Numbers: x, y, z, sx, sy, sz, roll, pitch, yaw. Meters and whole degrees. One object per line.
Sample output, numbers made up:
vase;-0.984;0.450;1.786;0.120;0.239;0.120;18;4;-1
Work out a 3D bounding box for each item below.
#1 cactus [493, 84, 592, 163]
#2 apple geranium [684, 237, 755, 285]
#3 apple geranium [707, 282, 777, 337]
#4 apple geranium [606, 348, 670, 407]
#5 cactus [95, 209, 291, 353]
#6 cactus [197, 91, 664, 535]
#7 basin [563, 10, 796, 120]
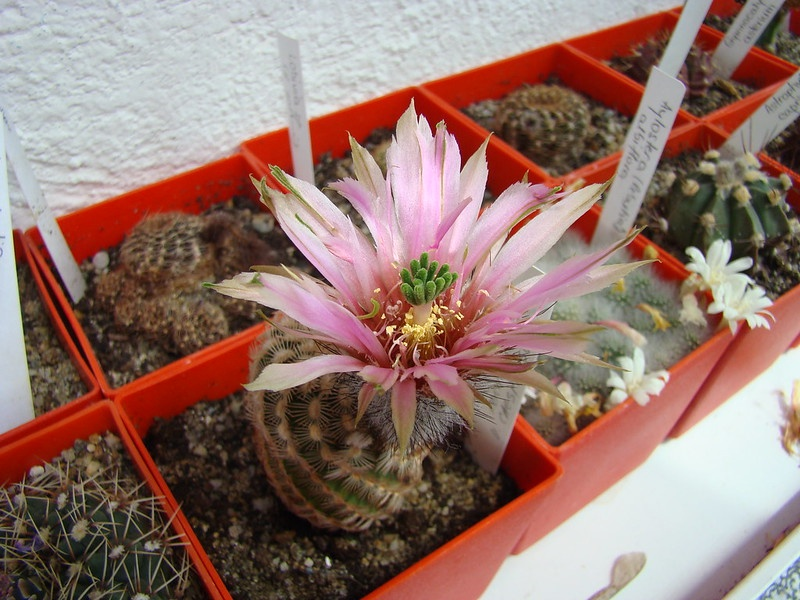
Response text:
cactus;0.360;-0.444;1.499;0.232;0.257;0.156;-10;106;-3
apple geranium;0.533;-0.057;1.085;0.083;0.046;0.095;1;90;15
apple geranium;0.554;0.006;1.053;0.089;0.045;0.094;-12;71;-4
apple geranium;0.367;0.125;1.010;0.053;0.108;0.121;5;84;-30
cactus;-0.386;-0.005;1.273;0.306;0.174;0.276;21;70;-8
cactus;0.007;0.059;0.925;0.429;0.540;0.483;-35;75;-26
basin;0.580;-0.496;1.369;0.285;0.079;0.296;-1;50;2
